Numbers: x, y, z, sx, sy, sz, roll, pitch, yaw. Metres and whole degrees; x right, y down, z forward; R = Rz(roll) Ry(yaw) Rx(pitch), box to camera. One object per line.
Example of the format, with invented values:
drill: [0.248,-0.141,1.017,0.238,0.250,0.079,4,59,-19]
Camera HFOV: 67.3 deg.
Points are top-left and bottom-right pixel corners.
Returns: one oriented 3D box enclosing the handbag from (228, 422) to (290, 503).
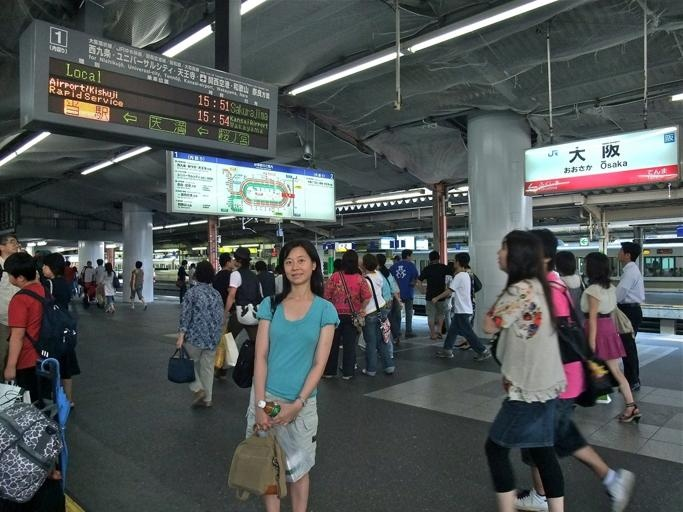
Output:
handbag: [-0.600,1.459,3.691,0.368,0.524,0.285,-7,-19,28]

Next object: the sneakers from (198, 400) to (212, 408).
sneakers: [-1.774,1.921,6.698,0.191,0.087,0.077,11,-12,3]

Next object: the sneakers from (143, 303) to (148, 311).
sneakers: [-7.363,1.912,19.179,0.078,0.234,0.155,-4,16,-43]

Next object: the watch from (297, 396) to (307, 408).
watch: [-0.300,1.056,3.758,0.049,0.080,0.082,31,15,29]

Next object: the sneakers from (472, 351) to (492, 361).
sneakers: [2.524,1.763,9.066,0.379,0.174,0.138,0,-12,-29]

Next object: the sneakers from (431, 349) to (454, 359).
sneakers: [1.853,1.774,9.358,0.133,0.154,0.354,2,2,-43]

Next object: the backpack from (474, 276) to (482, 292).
backpack: [2.668,0.553,10.070,0.274,0.271,0.096,6,-6,-43]

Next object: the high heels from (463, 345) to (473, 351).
high heels: [2.478,1.811,10.052,0.143,0.057,0.048,-14,-1,-12]

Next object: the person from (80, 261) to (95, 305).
person: [-9.946,1.195,20.197,0.453,1.555,1.469,-1,1,-27]

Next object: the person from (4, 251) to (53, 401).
person: [-3.223,0.757,5.238,0.362,1.593,0.644,-1,2,-31]

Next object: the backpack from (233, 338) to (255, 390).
backpack: [-0.799,0.870,4.169,0.180,0.374,0.267,10,-3,-22]

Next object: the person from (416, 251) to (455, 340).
person: [2.039,0.860,11.100,0.813,1.917,0.545,-5,17,3]

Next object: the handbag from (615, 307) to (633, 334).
handbag: [3.667,0.845,6.648,0.159,0.362,0.338,-23,-14,21]

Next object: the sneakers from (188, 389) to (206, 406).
sneakers: [-1.911,1.861,6.776,0.176,0.207,0.208,1,3,-26]

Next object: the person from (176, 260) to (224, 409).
person: [-1.819,1.011,6.622,0.421,1.895,0.741,0,2,15]

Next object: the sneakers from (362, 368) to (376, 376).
sneakers: [0.435,1.870,8.238,0.080,0.094,0.216,-5,7,-44]

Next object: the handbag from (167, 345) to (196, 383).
handbag: [-1.933,1.306,6.199,0.335,0.446,0.160,1,9,-2]

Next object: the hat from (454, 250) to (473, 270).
hat: [2.156,0.031,9.244,0.295,0.473,0.307,3,34,2]

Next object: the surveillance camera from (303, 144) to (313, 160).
surveillance camera: [-0.776,-2.399,11.667,0.186,0.336,0.385,-1,1,-5]

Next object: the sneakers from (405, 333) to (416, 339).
sneakers: [1.559,1.785,11.477,0.263,0.115,0.087,-3,5,-17]

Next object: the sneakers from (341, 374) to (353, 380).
sneakers: [0.090,1.865,7.931,0.167,0.064,0.142,0,1,1]

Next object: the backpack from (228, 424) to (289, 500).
backpack: [-0.596,1.464,3.683,0.373,0.516,0.282,-1,-17,17]

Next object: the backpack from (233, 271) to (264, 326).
backpack: [-1.591,0.697,7.998,0.443,0.845,0.573,-6,-12,40]

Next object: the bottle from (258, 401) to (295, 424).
bottle: [-0.465,1.128,3.694,0.251,0.148,0.245,3,-7,0]

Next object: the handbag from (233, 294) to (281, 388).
handbag: [-0.748,0.706,4.144,0.157,0.629,0.247,9,0,8]

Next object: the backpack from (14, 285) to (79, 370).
backpack: [-3.122,0.761,5.512,0.428,0.755,0.519,-5,8,-18]
